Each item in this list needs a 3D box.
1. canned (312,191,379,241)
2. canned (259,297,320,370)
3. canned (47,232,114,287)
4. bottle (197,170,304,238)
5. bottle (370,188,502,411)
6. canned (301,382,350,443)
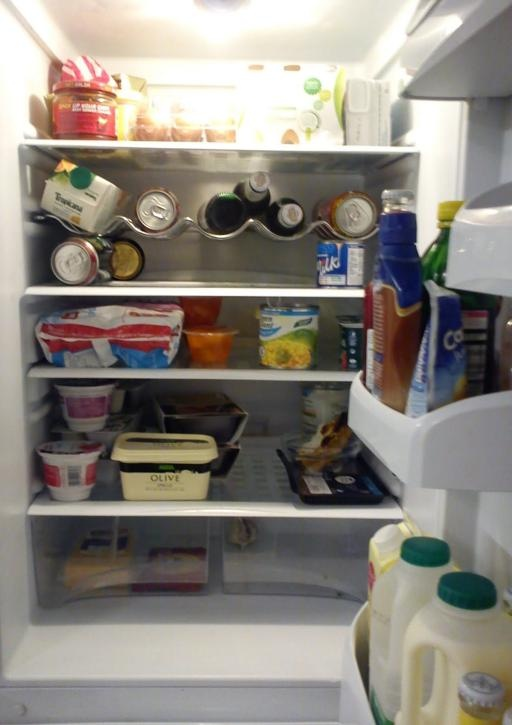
[{"bbox_3d":[0.204,-0.333,1.384,0.140,0.104,0.228,-1,12,6],"label":"canned"},{"bbox_3d":[0.069,-0.071,1.423,0.145,0.153,0.144,0,14,-1],"label":"canned"},{"bbox_3d":[-0.356,-0.223,1.321,0.082,0.103,0.166,5,14,29],"label":"canned"},{"bbox_3d":[-0.009,-0.347,1.351,0.238,0.135,0.178,-3,12,-5],"label":"bottle"},{"bbox_3d":[0.164,-0.069,0.624,0.100,0.219,0.185,0,12,11],"label":"bottle"},{"bbox_3d":[0.176,0.100,1.549,0.124,0.163,0.164,0,10,6],"label":"canned"}]
